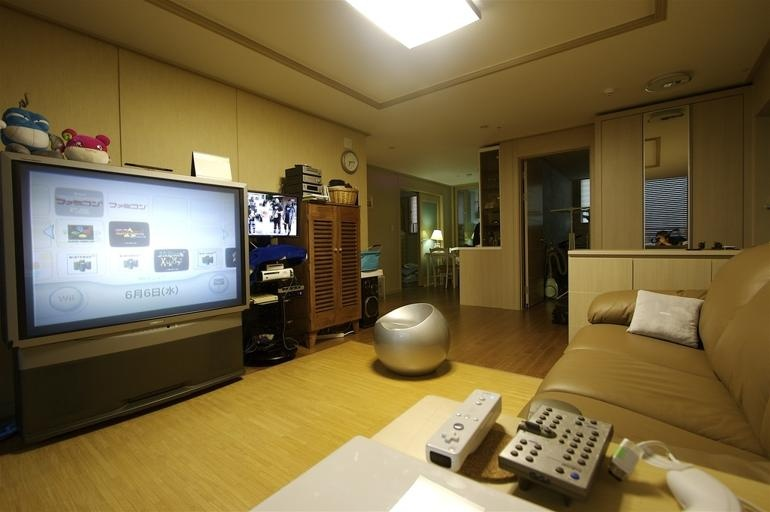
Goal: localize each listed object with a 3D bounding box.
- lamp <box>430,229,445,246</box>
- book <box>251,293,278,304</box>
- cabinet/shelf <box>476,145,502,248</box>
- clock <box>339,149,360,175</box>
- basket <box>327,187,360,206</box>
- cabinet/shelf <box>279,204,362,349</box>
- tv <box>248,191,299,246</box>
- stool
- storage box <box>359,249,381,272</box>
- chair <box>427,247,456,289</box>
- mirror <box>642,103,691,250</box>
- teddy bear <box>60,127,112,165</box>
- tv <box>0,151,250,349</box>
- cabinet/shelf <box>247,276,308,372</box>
[{"bbox_3d":[1.151,-0.409,10.786,0.295,0.374,0.734,-1,6,5],"label":"lamp"},{"bbox_3d":[-1.202,0.438,4.888,0.278,0.095,0.185,-4,6,-16],"label":"book"},{"bbox_3d":[1.679,-0.787,7.532,0.339,1.703,0.328,2,10,33],"label":"cabinet/shelf"},{"bbox_3d":[-0.480,-1.269,6.551,0.066,0.294,0.289,3,5,29],"label":"clock"},{"bbox_3d":[-0.504,-0.675,5.747,0.254,0.125,0.260,0,-1,18],"label":"basket"},{"bbox_3d":[-0.678,0.177,5.717,0.839,1.422,0.516,-6,9,-40],"label":"cabinet/shelf"},{"bbox_3d":[-1.203,-0.405,5.193,0.617,0.457,0.064,-1,1,-31],"label":"tv"},{"bbox_3d":[0.258,0.774,4.652,0.648,0.494,0.662,2,3,20],"label":"stool"},{"bbox_3d":[-0.184,0.063,6.164,0.212,0.208,0.279,1,7,6],"label":"storage box"},{"bbox_3d":[1.245,0.219,10.586,0.541,0.746,0.641,1,3,32],"label":"chair"},{"bbox_3d":[3.436,-0.891,5.913,0.425,1.842,0.063,-1,12,29],"label":"mirror"},{"bbox_3d":[-2.508,-0.889,4.078,0.246,0.336,0.380,-9,-7,39],"label":"teddy bear"},{"bbox_3d":[-2.163,-0.005,3.965,1.781,1.325,0.132,-1,1,-40],"label":"tv"},{"bbox_3d":[-1.234,0.641,5.214,0.779,0.855,0.791,6,10,30],"label":"cabinet/shelf"}]
